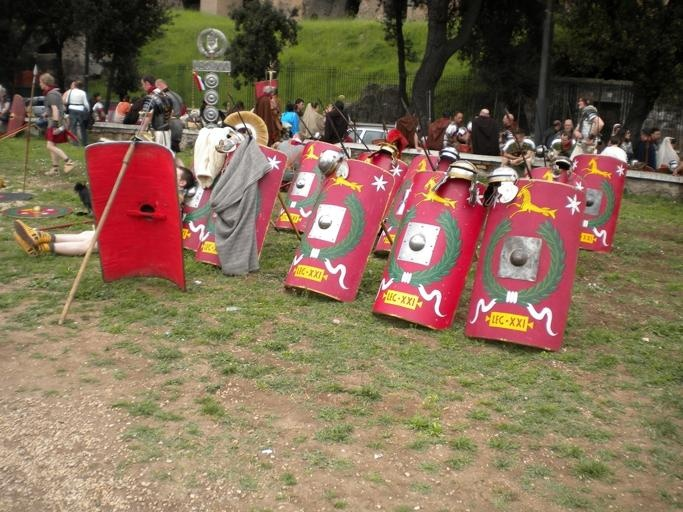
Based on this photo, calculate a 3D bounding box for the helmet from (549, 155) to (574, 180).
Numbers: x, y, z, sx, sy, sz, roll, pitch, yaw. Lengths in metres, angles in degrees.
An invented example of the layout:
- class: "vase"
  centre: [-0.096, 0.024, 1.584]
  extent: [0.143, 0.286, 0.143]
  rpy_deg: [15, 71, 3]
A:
- class: "helmet"
  centre: [2.641, -1.050, 7.578]
  extent: [0.223, 0.259, 0.338]
  rpy_deg: [0, 45, 5]

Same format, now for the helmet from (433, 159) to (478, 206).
- class: "helmet"
  centre: [1.365, -0.842, 7.339]
  extent: [0.391, 0.539, 0.448]
  rpy_deg: [19, -32, 8]

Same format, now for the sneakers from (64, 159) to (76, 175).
- class: "sneakers"
  centre: [-6.120, -1.980, 14.142]
  extent: [0.256, 0.216, 0.604]
  rpy_deg: [26, -14, -27]

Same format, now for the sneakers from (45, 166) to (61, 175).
- class: "sneakers"
  centre: [-6.468, -1.897, 14.066]
  extent: [0.287, 0.195, 0.104]
  rpy_deg: [29, 32, 15]

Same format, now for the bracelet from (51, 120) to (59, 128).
- class: "bracelet"
  centre: [-6.317, -2.901, 13.851]
  extent: [0.179, 0.179, 0.185]
  rpy_deg: [1, 4, -14]

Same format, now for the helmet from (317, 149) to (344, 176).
- class: "helmet"
  centre: [-0.150, -1.171, 7.944]
  extent: [0.242, 0.317, 0.241]
  rpy_deg: [13, 5, -42]

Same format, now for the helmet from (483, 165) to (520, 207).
- class: "helmet"
  centre: [1.754, -0.752, 7.167]
  extent: [0.374, 0.501, 0.441]
  rpy_deg: [2, -5, -12]

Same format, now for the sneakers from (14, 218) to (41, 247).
- class: "sneakers"
  centre: [-4.214, -0.278, 8.472]
  extent: [0.223, 0.454, 0.186]
  rpy_deg: [-31, -2, 23]
